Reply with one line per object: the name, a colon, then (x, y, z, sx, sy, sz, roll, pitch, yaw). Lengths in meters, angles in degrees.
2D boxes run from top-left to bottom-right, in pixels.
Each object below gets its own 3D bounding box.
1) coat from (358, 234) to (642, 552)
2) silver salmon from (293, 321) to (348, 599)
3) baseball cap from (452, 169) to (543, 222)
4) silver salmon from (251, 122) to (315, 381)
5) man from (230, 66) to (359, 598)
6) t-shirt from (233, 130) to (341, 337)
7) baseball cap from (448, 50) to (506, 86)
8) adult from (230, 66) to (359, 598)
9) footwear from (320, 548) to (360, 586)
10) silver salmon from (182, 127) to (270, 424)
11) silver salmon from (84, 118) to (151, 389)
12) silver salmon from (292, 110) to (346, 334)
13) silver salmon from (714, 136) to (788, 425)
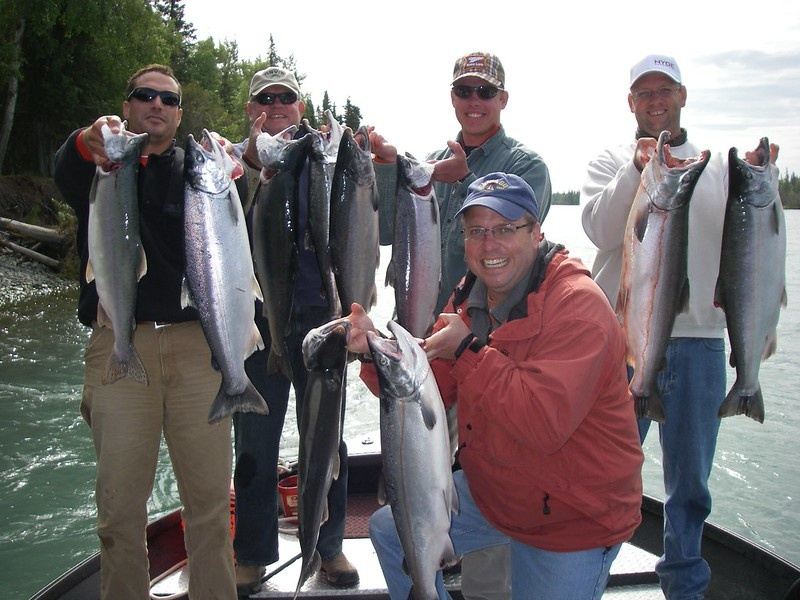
coat: (0.721, 0.741, 4.752, 1.610, 2.086, 1.820, 0, 3, 44)
silver salmon: (-0.558, 1.021, 4.407, 0.294, 1.974, 0.384, 5, 2, -12)
baseball cap: (0.679, -0.710, 4.690, 0.483, 0.382, 0.691, 3, 4, 24)
silver salmon: (-0.938, -0.429, 4.994, 0.618, 1.972, 0.420, 7, 5, 42)
man: (-0.995, 0.161, 5.687, 0.959, 4.725, 0.940, -2, 0, 34)
t-shirt: (-0.719, -0.659, 4.889, 0.365, 1.871, 0.401, 7, 17, 40)
baseball cap: (0.650, -1.963, 5.655, 0.428, 0.322, 0.613, 1, 10, 0)
adult: (-0.961, 0.208, 5.659, 0.959, 4.725, 0.940, -2, 0, 34)
footwear: (-0.503, 2.207, 5.476, 0.196, 0.202, 0.440, 2, -7, -29)
silver salmon: (-1.256, -0.144, 4.738, 0.563, 2.024, 0.390, 0, 13, -17)
silver salmon: (-2.026, -0.318, 4.787, 0.412, 1.795, 0.440, 0, 12, -14)
silver salmon: (-0.548, -0.573, 4.935, 0.405, 1.532, 0.297, -7, 9, -34)
silver salmon: (2.506, -0.150, 4.793, 0.526, 1.965, 0.362, 7, 13, 16)
